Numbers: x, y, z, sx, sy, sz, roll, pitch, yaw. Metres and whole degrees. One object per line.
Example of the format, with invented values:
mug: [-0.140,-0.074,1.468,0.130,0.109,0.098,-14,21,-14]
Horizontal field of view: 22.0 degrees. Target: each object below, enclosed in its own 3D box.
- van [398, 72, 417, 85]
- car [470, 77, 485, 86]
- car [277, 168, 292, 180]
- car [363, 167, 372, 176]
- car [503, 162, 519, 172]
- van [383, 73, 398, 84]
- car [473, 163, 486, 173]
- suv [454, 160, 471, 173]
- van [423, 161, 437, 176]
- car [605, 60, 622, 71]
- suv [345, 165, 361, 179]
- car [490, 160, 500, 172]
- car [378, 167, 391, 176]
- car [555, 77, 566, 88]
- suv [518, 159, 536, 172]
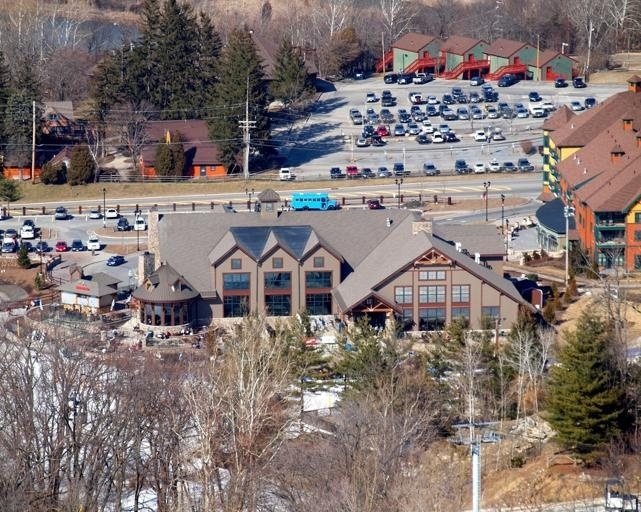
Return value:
van: [13.160,-27.203,251.384,3.367,1.514,2.366,-11,12,-36]
car: [23.292,-26.121,245.219,1.094,1.090,2.753,3,9,14]
car: [-4.382,-10.308,203.839,0.953,1.122,1.937,-1,-3,-6]
car: [5.791,-10.543,202.790,1.228,0.855,2.114,-3,10,3]
car: [23.207,-11.145,201.826,1.749,0.987,1.645,-2,10,8]
van: [10.806,-27.232,252.496,1.883,1.208,2.872,0,10,20]
car: [19.590,-11.010,202.173,1.538,1.128,1.417,-2,9,7]
suv: [17.286,-11.179,203.054,0.961,1.162,2.154,-2,5,-5]
van: [13.588,-10.955,202.660,1.926,1.342,2.857,-3,10,4]
car: [46.247,-30.531,260.526,1.857,2.146,2.176,2,-9,-1]
suv: [3.935,-10.522,203.213,0.960,1.121,2.088,-1,18,-4]
car: [21.435,-11.167,202.073,1.373,1.199,2.188,-2,10,7]
car: [7.759,-10.603,202.766,0.836,0.918,1.495,-1,0,-8]
car: [35.171,-25.477,242.022,1.051,0.985,2.635,-1,18,-1]
suv: [24.889,-11.327,201.976,1.026,1.187,2.038,-2,5,-6]
